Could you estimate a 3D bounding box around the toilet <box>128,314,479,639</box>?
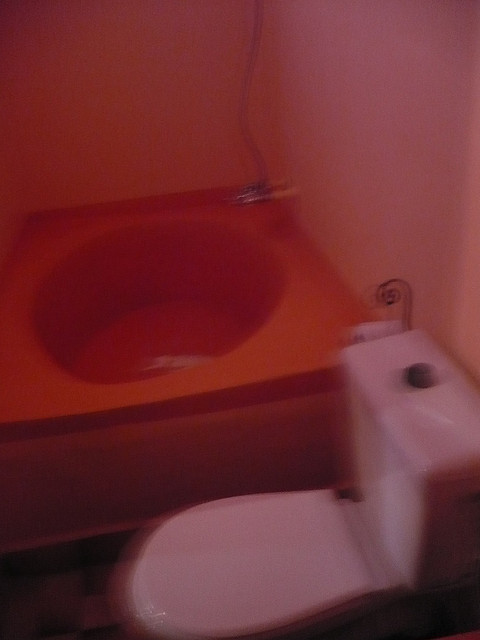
[{"bbox_3d":[0.208,0.235,1.344,0.845,0.678,0.382,-8,40,-8],"label":"toilet"}]
